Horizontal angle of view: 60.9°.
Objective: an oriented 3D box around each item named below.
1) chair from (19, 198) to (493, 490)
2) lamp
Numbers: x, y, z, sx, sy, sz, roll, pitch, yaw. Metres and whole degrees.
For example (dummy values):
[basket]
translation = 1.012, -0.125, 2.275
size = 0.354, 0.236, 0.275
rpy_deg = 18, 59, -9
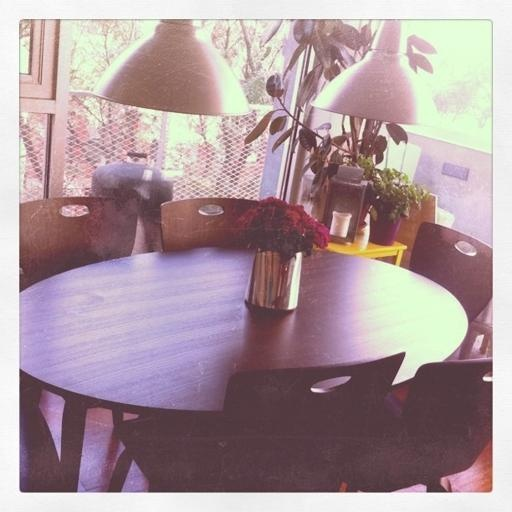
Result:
[chair]
translation = -0.093, 0.297, 1.384
size = 1.290, 0.905, 0.540
rpy_deg = 4, 14, -18
[lamp]
translation = -0.220, -0.527, 1.299
size = 0.295, 0.360, 0.294
rpy_deg = -3, 22, -26
